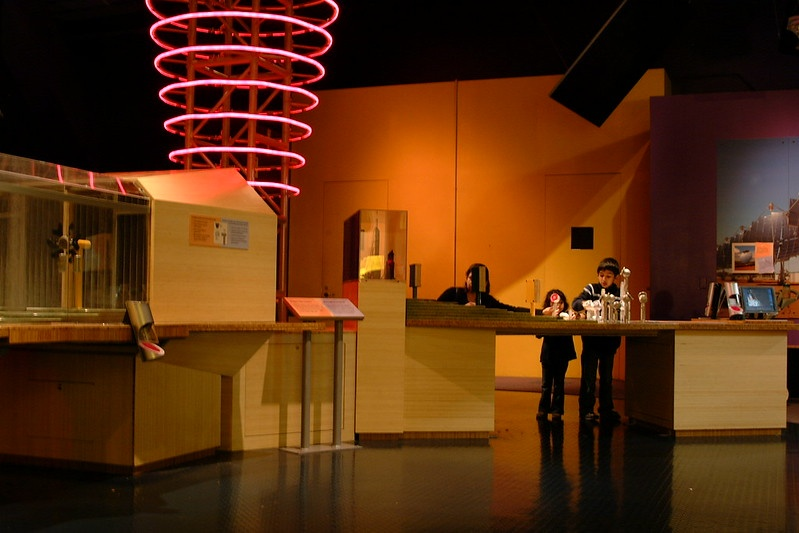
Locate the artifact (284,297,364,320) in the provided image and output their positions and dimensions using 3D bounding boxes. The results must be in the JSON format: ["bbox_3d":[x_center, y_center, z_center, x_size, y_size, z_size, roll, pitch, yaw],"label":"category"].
[{"bbox_3d":[-0.757,0.423,7.773,0.469,0.121,0.306,4,3,-24],"label":"artifact"}]

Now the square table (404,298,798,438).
[{"bbox_3d":[2.229,1.087,8.783,4.293,1.470,0.991,1,6,-2],"label":"square table"}]

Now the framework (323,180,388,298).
[{"bbox_3d":[-0.797,-0.495,13.019,1.036,1.934,0.392,1,6,5],"label":"framework"}]

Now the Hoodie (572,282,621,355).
[{"bbox_3d":[2.411,0.616,9.290,0.661,0.828,0.501,1,15,3],"label":"Hoodie"}]

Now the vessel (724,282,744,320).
[{"bbox_3d":[3.837,0.379,8.935,0.162,0.411,0.218,-3,-8,-5],"label":"vessel"}]

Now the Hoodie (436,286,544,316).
[{"bbox_3d":[0.963,0.423,9.732,0.752,0.213,0.543,10,-7,18],"label":"Hoodie"}]

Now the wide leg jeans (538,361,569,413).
[{"bbox_3d":[1.865,1.451,9.481,0.318,0.805,0.259,2,6,10],"label":"wide leg jeans"}]

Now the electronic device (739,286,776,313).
[{"bbox_3d":[4.103,0.391,8.968,0.301,0.210,0.039,4,-20,-12],"label":"electronic device"}]

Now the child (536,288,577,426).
[{"bbox_3d":[1.886,1.059,9.459,0.515,1.600,0.539,2,0,28],"label":"child"}]

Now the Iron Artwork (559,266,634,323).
[{"bbox_3d":[2.275,0.346,9.038,0.547,0.816,0.832,1,-8,10],"label":"Iron Artwork"}]
